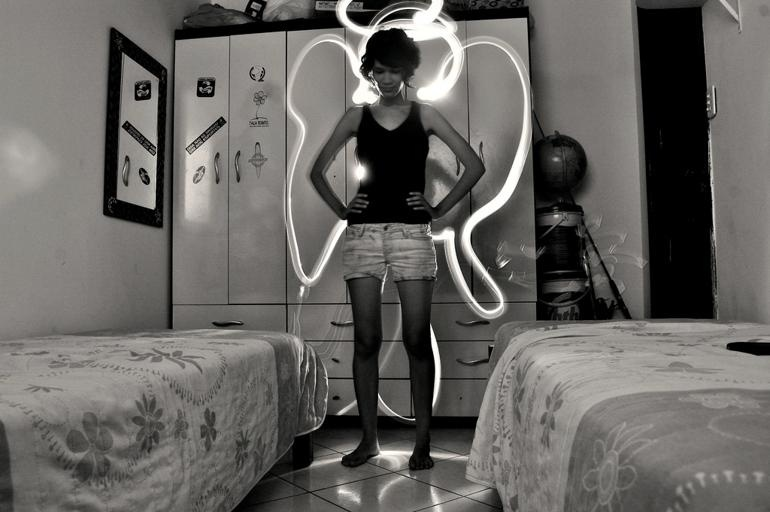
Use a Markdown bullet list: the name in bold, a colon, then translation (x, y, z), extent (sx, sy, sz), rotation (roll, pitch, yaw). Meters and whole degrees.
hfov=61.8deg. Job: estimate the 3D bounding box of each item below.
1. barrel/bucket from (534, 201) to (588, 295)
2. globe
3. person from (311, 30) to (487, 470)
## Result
- **barrel/bucket**: translation (1.030, -0.041, 3.831), extent (0.318, 0.546, 0.338), rotation (0, -3, 0)
- **globe**: translation (1.059, -0.498, 3.898), extent (0.338, 0.461, 0.342), rotation (11, -23, -35)
- **person**: translation (0.016, -0.054, 3.027), extent (0.768, 2.025, 0.398), rotation (0, -2, 12)
